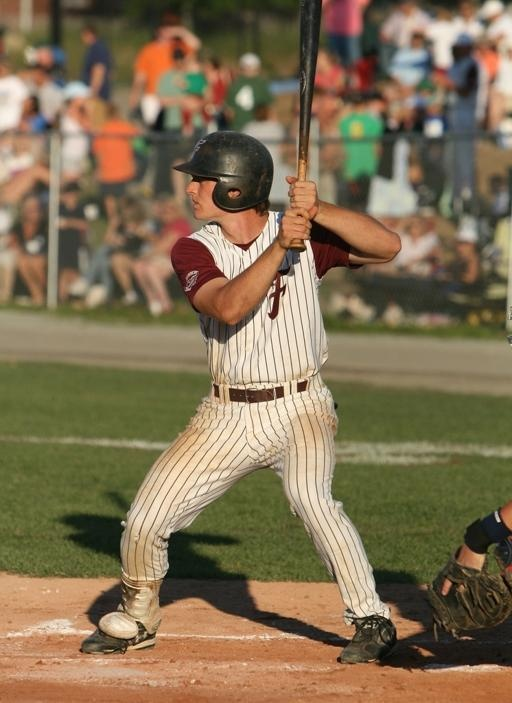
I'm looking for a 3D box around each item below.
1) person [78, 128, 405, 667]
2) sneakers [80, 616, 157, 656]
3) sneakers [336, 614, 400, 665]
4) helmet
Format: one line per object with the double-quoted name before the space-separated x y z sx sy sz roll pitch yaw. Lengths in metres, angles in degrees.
"person" -0.005 0.145 3.952 0.997 1.719 0.592 2 9 6
"sneakers" -0.457 0.958 4.005 0.235 0.093 0.101 3 -2 -14
"sneakers" 0.356 0.941 3.910 0.251 0.156 0.099 -4 1 -37
"helmet" -0.117 -0.609 4.060 0.343 0.235 0.233 4 9 -3
